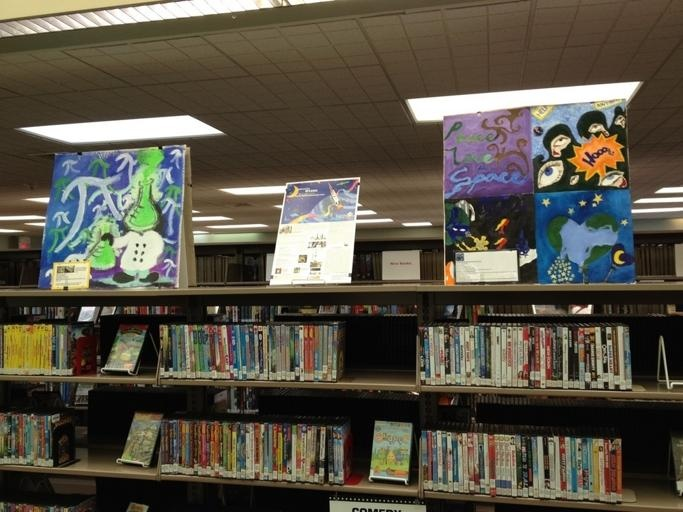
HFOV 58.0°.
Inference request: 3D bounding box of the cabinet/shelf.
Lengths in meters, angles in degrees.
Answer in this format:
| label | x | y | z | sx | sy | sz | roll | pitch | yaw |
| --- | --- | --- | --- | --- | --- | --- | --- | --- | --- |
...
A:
| label | x | y | z | sx | sy | sz | roll | pitch | yaw |
| --- | --- | --- | --- | --- | --- | --- | --- | --- | --- |
| cabinet/shelf | -0.007 | 0.735 | 3.555 | 3.738 | 1.197 | 0.434 | -1 | -11 | 13 |
